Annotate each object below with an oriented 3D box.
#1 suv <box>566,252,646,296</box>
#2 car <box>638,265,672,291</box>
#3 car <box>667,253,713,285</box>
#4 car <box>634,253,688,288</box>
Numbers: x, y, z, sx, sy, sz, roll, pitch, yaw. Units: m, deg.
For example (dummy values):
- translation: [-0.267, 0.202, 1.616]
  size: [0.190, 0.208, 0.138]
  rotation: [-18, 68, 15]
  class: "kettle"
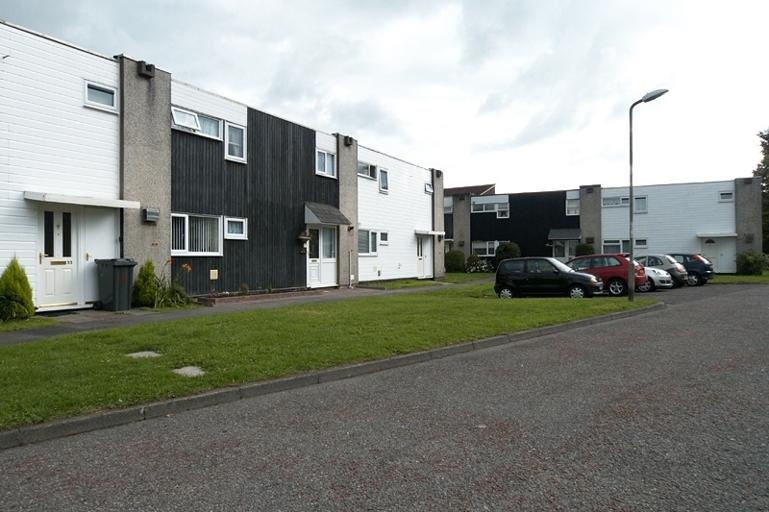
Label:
- translation: [8.978, 0.721, 22.722]
  size: [2.827, 1.296, 1.574]
  rotation: [1, 0, 28]
  class: "suv"
- translation: [12.057, 1.009, 24.712]
  size: [1.553, 0.795, 0.909]
  rotation: [-5, -4, 16]
  class: "car"
- translation: [15.817, 0.735, 28.779]
  size: [2.576, 1.354, 1.501]
  rotation: [1, -2, 17]
  class: "car"
- translation: [13.308, 0.644, 26.631]
  size: [2.740, 1.329, 1.538]
  rotation: [1, -1, 21]
  class: "car"
